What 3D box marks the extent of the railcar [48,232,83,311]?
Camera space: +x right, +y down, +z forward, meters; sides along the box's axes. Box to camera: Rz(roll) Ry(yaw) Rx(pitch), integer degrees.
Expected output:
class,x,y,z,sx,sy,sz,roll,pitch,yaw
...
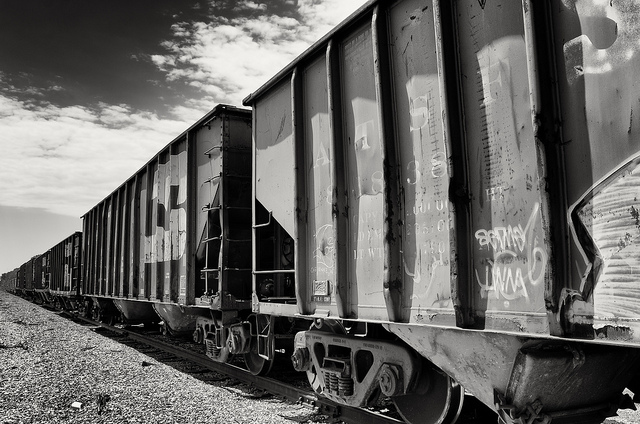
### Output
class,x,y,z,sx,sy,sz,roll,pitch,yaw
railcar,-12.024,3.184,25.519,1.924,3.268,6.032,8,-13,-37
